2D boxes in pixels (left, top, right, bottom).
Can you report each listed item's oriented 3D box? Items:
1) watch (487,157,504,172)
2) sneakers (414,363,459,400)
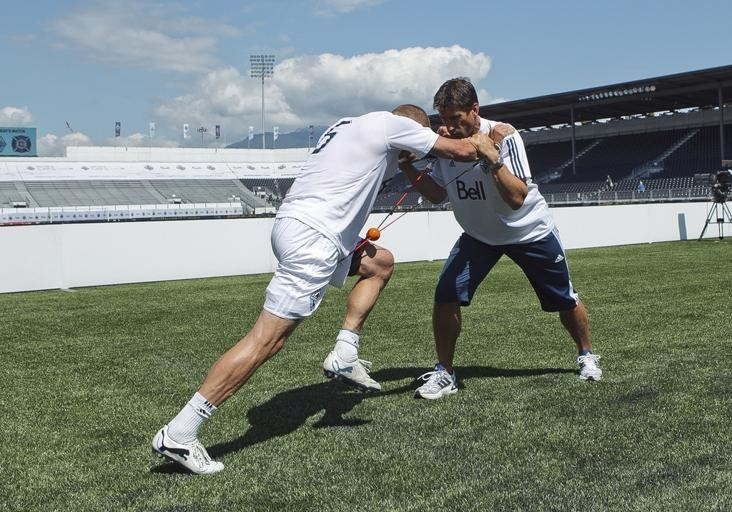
[{"bbox_3d":[0.855,-0.589,4.655,0.116,0.072,0.114,-10,-12,-30],"label":"watch"},{"bbox_3d":[0.505,0.902,5.067,0.165,0.166,0.337,-7,-9,38],"label":"sneakers"}]
